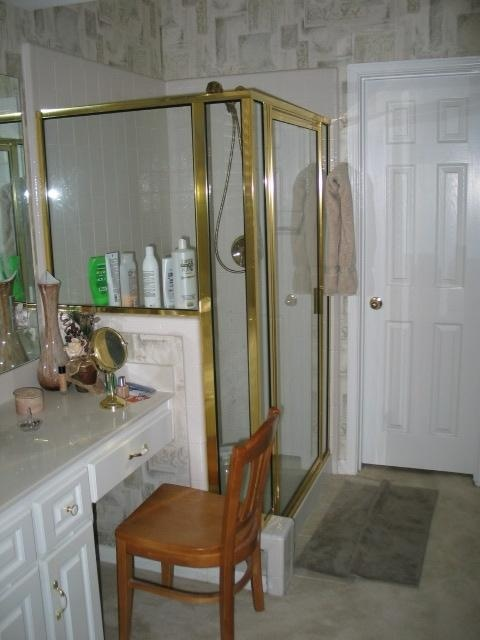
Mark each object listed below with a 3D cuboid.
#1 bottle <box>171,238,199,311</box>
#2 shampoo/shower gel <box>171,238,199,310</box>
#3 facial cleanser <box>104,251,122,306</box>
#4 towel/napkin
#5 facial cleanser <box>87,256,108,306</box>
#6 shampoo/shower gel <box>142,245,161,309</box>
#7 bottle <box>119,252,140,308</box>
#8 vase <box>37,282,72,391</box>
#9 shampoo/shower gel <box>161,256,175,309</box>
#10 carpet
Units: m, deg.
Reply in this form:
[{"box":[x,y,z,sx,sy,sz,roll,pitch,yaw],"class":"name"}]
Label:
[{"box":[-0.182,-0.161,1.634,0.067,0.294,0.078,-1,46,-2],"class":"bottle"},{"box":[-0.179,-0.148,1.618,0.086,0.231,0.058,0,6,11],"class":"shampoo/shower gel"},{"box":[-0.445,-0.148,1.764,0.046,0.227,0.025,1,40,-10],"class":"facial cleanser"},{"box":[0.466,-0.417,2.298,0.152,0.605,0.138,1,6,12],"class":"towel/napkin"},{"box":[-0.499,-0.141,1.794,0.086,0.205,0.031,-7,39,-21],"class":"facial cleanser"},{"box":[-0.302,-0.143,1.681,0.087,0.212,0.043,3,6,32],"class":"shampoo/shower gel"},{"box":[-0.386,-0.140,1.732,0.074,0.183,0.028,2,6,21],"class":"bottle"},{"box":[-0.643,0.053,1.722,0.089,0.402,0.108,3,13,9],"class":"vase"},{"box":[-0.233,-0.110,1.672,0.036,0.192,0.036,-1,-26,-9],"class":"shampoo/shower gel"},{"box":[0.594,0.908,2.220,0.464,0.034,0.862,2,7,27],"class":"carpet"}]
